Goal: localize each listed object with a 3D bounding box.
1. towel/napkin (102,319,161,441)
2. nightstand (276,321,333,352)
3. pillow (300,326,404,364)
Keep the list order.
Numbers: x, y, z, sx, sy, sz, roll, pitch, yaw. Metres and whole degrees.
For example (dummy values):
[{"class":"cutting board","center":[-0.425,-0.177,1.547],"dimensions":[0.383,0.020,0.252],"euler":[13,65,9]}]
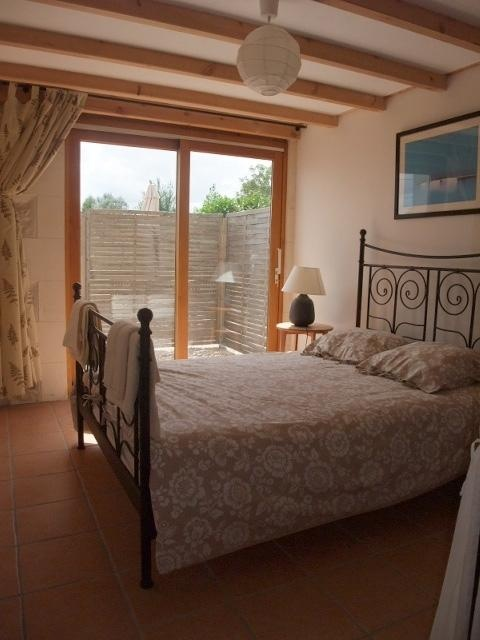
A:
[{"class":"towel/napkin","center":[-0.387,0.223,1.640],"dimensions":[0.148,0.470,0.492],"euler":[-3,10,-21]},{"class":"nightstand","center":[0.496,0.166,4.004],"dimensions":[0.326,0.350,0.332],"euler":[4,7,28]},{"class":"pillow","center":[0.768,0.155,3.059],"dimensions":[0.340,0.089,0.337],"euler":[-16,8,-23]}]
